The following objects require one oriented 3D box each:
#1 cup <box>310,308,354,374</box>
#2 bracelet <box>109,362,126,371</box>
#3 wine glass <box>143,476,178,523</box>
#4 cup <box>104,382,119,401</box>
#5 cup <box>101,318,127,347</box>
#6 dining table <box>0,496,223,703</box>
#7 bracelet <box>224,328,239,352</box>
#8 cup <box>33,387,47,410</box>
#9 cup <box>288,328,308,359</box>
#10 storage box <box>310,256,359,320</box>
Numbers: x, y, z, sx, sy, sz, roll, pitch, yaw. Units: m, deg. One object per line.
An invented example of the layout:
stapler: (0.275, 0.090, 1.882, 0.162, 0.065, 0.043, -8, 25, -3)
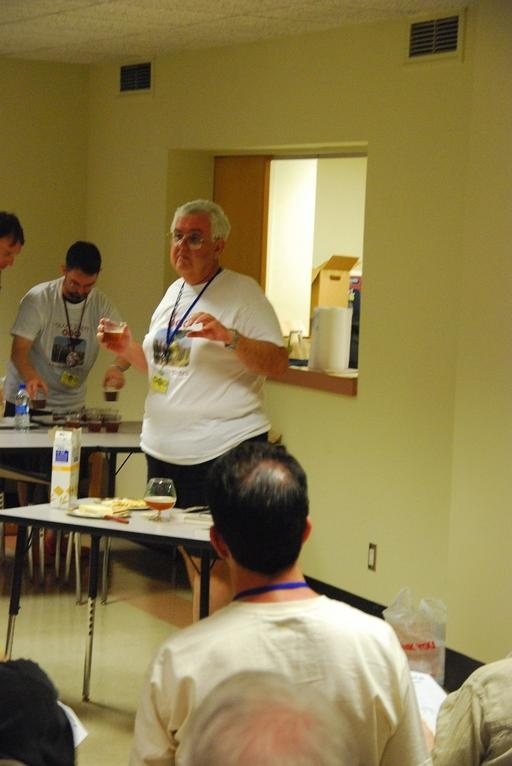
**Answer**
cup: (0.452, -0.251, 3.791, 0.243, 0.325, 0.218, 5, 2, 5)
bracelet: (-0.778, -0.093, 3.561, 0.047, 0.034, 0.110, 9, 25, -3)
wine glass: (-0.316, 0.419, 2.253, 0.120, 0.171, 0.136, 1, -3, -2)
cup: (-0.821, 0.049, 3.581, 0.084, 0.079, 0.093, 1, 9, 0)
cup: (-0.617, -0.221, 2.738, 0.099, 0.117, 0.106, 1, 2, 0)
dining table: (-0.619, 0.869, 2.554, 0.984, 0.813, 0.782, 5, -2, -27)
bracelet: (-0.091, -0.171, 2.479, 0.049, 0.060, 0.074, 11, -1, -16)
cup: (-1.285, 0.091, 3.766, 0.120, 0.120, 0.152, -2, 5, -11)
cup: (0.282, -0.254, 4.210, 0.135, 0.159, 0.178, 5, 2, -1)
storage box: (0.506, -0.703, 4.510, 0.357, 0.542, 0.512, 2, 5, -8)
